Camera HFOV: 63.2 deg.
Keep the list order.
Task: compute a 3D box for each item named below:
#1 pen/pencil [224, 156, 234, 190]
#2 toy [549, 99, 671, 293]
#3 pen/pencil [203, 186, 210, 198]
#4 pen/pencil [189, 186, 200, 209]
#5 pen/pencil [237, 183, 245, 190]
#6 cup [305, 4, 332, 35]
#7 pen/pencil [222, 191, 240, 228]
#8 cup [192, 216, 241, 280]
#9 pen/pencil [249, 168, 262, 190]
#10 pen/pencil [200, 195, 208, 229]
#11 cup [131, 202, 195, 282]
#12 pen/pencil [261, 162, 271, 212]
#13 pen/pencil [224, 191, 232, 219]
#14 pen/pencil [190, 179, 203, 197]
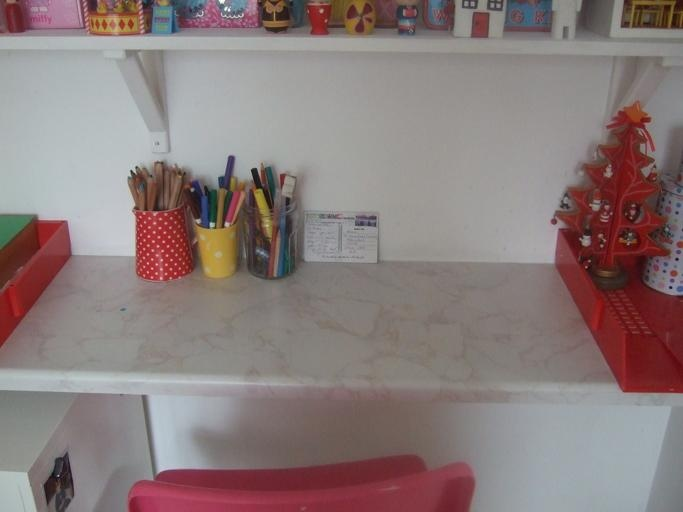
[{"bbox_3d":[-0.335,-0.255,1.661,0.027,0.108,0.027,10,-3,1],"label":"pen/pencil"},{"bbox_3d":[0.792,-0.191,1.618,0.309,0.516,0.231,7,23,17],"label":"toy"},{"bbox_3d":[-0.409,-0.195,1.682,0.014,0.050,0.010,11,52,1],"label":"pen/pencil"},{"bbox_3d":[-0.433,-0.170,1.649,0.015,0.085,0.023,-11,-12,-4],"label":"pen/pencil"},{"bbox_3d":[-0.301,-0.211,1.671,0.018,0.023,0.019,0,32,-19],"label":"pen/pencil"},{"bbox_3d":[-0.057,-0.598,1.404,0.067,0.084,0.072,1,26,0],"label":"cup"},{"bbox_3d":[-0.331,-0.120,1.656,0.025,0.145,0.024,16,32,-13],"label":"pen/pencil"},{"bbox_3d":[-0.375,-0.037,1.690,0.142,0.177,0.149,2,18,-1],"label":"cup"},{"bbox_3d":[-0.244,-0.223,1.605,0.020,0.080,0.021,-3,-9,-3],"label":"pen/pencil"},{"bbox_3d":[-0.396,-0.130,1.616,0.027,0.092,0.027,-7,23,-16],"label":"pen/pencil"},{"bbox_3d":[-0.539,-0.049,1.693,0.167,0.203,0.173,0,16,0],"label":"cup"},{"bbox_3d":[-0.219,-0.203,1.636,0.017,0.176,0.018,-9,2,-3],"label":"pen/pencil"},{"bbox_3d":[-0.338,-0.157,1.655,0.020,0.094,0.022,5,-6,-8],"label":"pen/pencil"},{"bbox_3d":[-0.435,-0.202,1.660,0.015,0.024,0.065,-41,12,-15],"label":"pen/pencil"}]
